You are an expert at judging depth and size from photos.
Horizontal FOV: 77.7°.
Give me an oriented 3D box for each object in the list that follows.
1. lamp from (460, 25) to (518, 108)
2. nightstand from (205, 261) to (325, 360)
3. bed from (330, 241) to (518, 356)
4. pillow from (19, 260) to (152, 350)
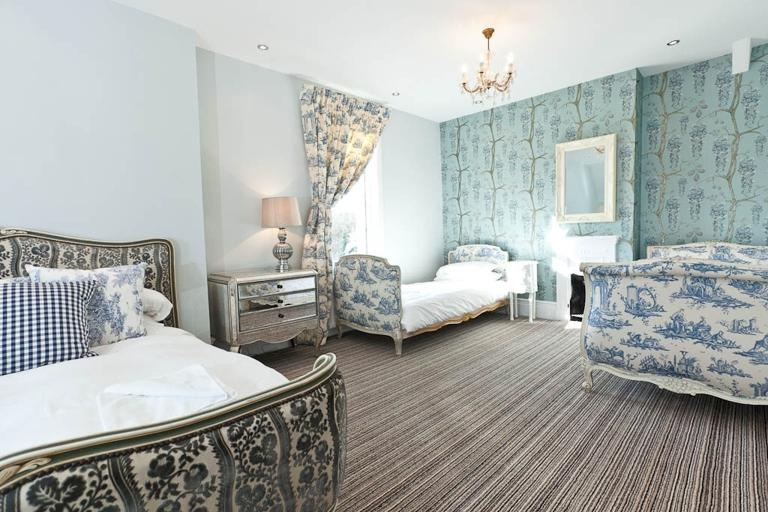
[{"bbox_3d":[1.129,-2.082,5.337,0.595,0.784,0.631,6,9,36],"label":"lamp"},{"bbox_3d":[-1.218,0.481,4.849,1.108,0.853,0.809,-1,0,-44],"label":"nightstand"},{"bbox_3d":[0.477,0.463,5.811,1.804,0.854,1.127,-1,0,-44],"label":"bed"},{"bbox_3d":[-2.125,0.362,3.367,0.221,0.560,0.614,-25,-12,27],"label":"pillow"}]
